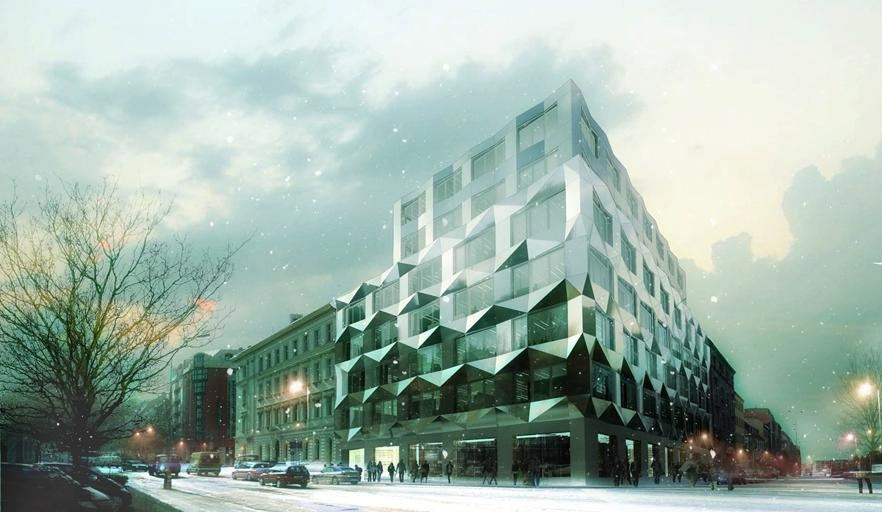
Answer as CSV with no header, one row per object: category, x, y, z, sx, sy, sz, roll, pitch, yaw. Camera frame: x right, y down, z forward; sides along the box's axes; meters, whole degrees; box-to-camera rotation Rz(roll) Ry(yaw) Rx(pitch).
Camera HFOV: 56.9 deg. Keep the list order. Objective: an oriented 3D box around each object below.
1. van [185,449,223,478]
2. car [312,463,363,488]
van,-26.962,24.019,93.720,3.147,2.540,4.913,5,-10,-28
car,-10.003,20.560,76.451,4.573,1.711,2.071,-5,-10,17
